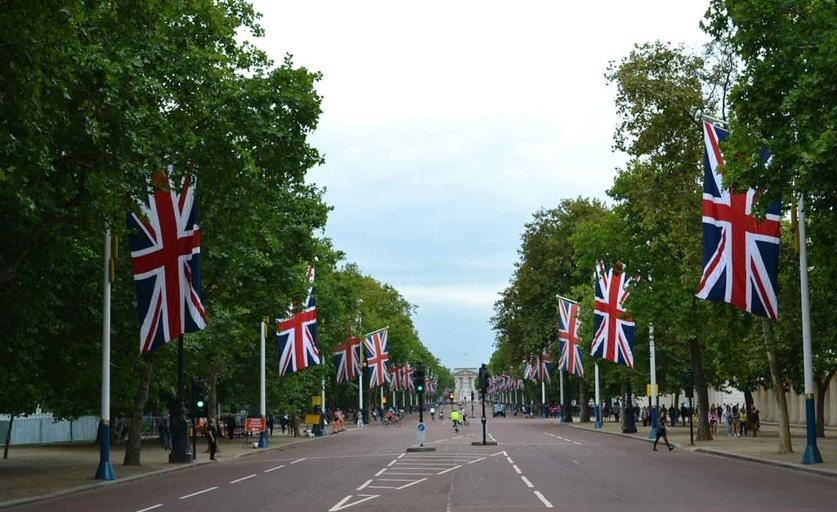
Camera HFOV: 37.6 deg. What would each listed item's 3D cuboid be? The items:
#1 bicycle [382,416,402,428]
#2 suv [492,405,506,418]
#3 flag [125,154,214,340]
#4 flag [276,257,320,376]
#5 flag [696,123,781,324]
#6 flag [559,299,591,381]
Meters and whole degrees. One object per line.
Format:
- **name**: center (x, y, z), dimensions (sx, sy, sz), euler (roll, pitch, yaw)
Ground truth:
- **bicycle**: center (-2.530, 15.651, 115.572), dimensions (1.440, 0.991, 0.781), euler (1, -5, 0)
- **suv**: center (9.538, 18.652, 148.226), dimensions (0.957, 0.918, 1.952), euler (-2, -15, -2)
- **flag**: center (-12.356, 0.479, 59.146), dimensions (2.567, 8.368, 3.366), euler (3, -3, 26)
- **flag**: center (-7.558, 4.029, 77.252), dimensions (3.243, 7.044, 0.120), euler (-17, 28, -36)
- **flag**: center (15.099, -1.903, 59.305), dimensions (3.433, 9.746, 1.219), euler (-3, -16, 9)
- **flag**: center (10.978, 5.962, 89.532), dimensions (1.886, 5.900, 1.370), euler (0, -1, -4)
